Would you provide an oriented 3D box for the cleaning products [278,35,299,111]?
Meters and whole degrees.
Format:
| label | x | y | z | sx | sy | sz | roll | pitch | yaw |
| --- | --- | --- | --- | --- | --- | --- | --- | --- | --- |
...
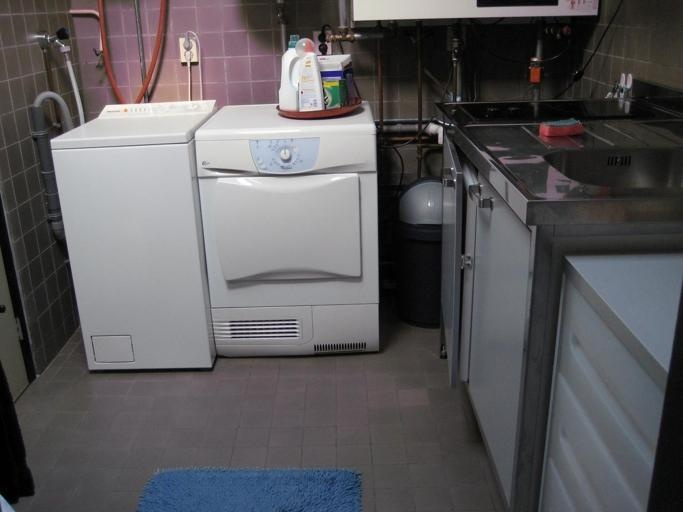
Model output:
| label | x | y | z | sx | sy | sz | roll | pitch | yaw |
| --- | --- | --- | --- | --- | --- | --- | --- | --- | --- |
| cleaning products | -0.238 | -0.809 | 2.414 | 0.101 | 0.266 | 0.067 | 12 | 28 | 31 |

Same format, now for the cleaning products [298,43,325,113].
| label | x | y | z | sx | sy | sz | roll | pitch | yaw |
| --- | --- | --- | --- | --- | --- | --- | --- | --- | --- |
| cleaning products | -0.142 | -0.823 | 2.399 | 0.105 | 0.322 | 0.069 | 2 | 17 | 8 |

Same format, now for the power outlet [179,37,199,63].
| label | x | y | z | sx | sy | sz | roll | pitch | yaw |
| --- | --- | --- | --- | --- | --- | --- | --- | --- | --- |
| power outlet | -0.827 | -1.131 | 2.864 | 0.115 | 0.177 | 0.087 | 0 | 7 | 2 |

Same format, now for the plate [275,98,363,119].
| label | x | y | z | sx | sy | sz | roll | pitch | yaw |
| --- | --- | --- | --- | --- | --- | --- | --- | --- | --- |
| plate | -0.110 | -0.713 | 2.426 | 0.347 | 0.114 | 0.323 | 1 | 23 | 2 |

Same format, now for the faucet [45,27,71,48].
| label | x | y | z | sx | sy | sz | roll | pitch | yaw |
| --- | --- | --- | --- | --- | --- | --- | --- | --- | --- |
| faucet | -1.436 | -1.115 | 2.677 | 0.093 | 0.088 | 0.306 | -13 | 27 | -20 |
